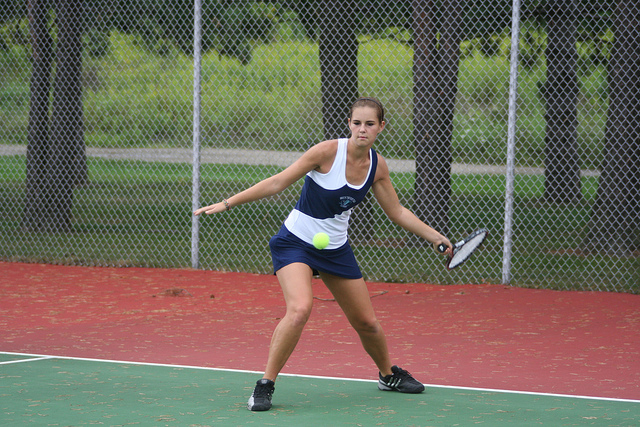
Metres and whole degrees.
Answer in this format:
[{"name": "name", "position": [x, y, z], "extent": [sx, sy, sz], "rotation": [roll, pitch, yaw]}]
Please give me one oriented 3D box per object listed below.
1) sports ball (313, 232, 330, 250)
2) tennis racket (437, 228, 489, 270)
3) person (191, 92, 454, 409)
[{"name": "sports ball", "position": [0.016, 0.226, 5.769], "extent": [0.128, 0.142, 0.123], "rotation": [2, -32, 1]}, {"name": "tennis racket", "position": [1.762, 0.464, 8.787], "extent": [0.104, 0.308, 0.739], "rotation": [37, -19, 6]}, {"name": "person", "position": [0.109, 0.289, 5.766], "extent": [1.617, 2.397, 0.503], "rotation": [-3, 9, -18]}]
